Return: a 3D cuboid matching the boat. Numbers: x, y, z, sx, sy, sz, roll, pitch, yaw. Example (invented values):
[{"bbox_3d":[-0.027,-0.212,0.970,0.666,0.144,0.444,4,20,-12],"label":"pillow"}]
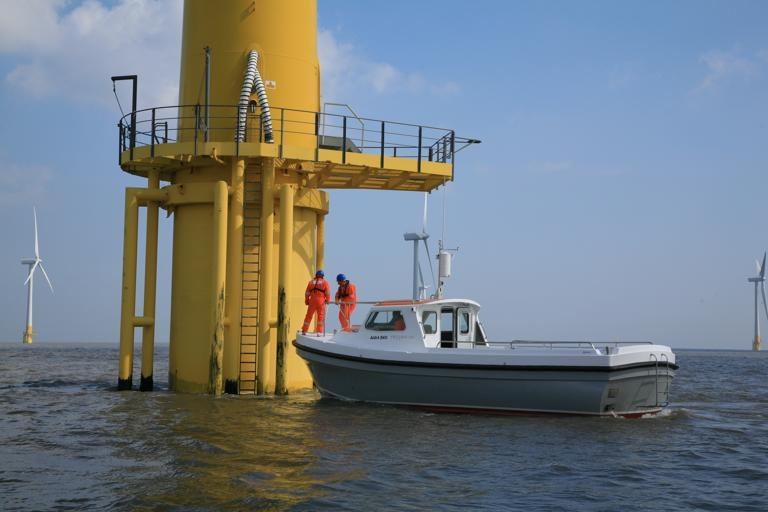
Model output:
[{"bbox_3d":[2.455,2.728,31.982,12.879,7.156,4.284,2,-9,24],"label":"boat"}]
